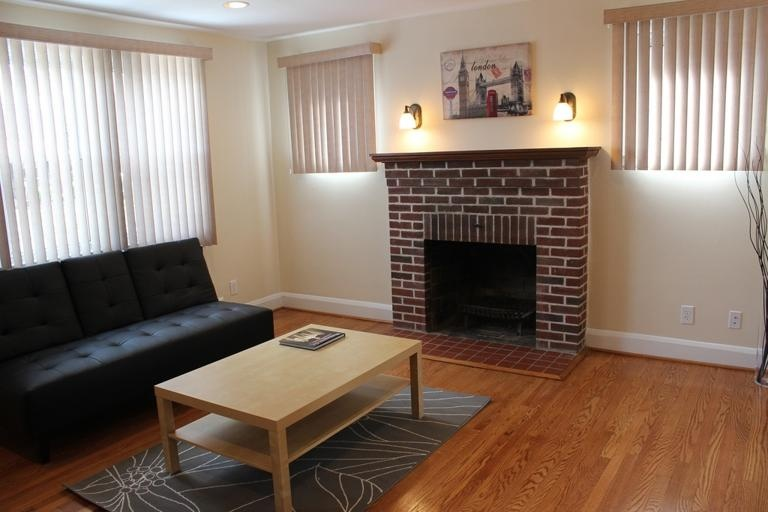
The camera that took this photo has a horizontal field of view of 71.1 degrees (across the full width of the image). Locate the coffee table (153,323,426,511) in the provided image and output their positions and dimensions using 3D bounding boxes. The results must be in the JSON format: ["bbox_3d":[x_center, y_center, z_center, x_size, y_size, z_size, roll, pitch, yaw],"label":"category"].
[{"bbox_3d":[-0.681,0.832,3.315,0.991,0.514,1.440,5,13,31],"label":"coffee table"}]

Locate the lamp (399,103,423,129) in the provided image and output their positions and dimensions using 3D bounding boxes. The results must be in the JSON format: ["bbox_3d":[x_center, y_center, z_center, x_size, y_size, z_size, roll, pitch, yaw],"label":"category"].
[{"bbox_3d":[0.250,-1.294,5.000,0.192,0.239,0.197,2,13,14],"label":"lamp"}]
